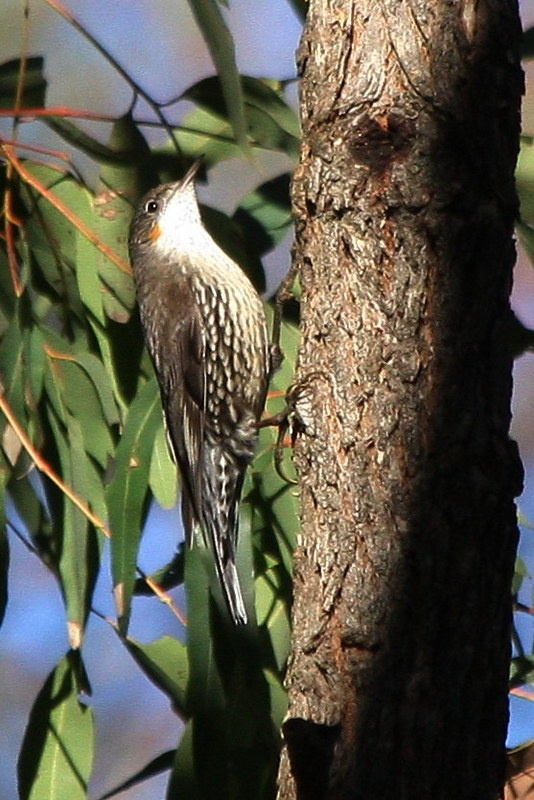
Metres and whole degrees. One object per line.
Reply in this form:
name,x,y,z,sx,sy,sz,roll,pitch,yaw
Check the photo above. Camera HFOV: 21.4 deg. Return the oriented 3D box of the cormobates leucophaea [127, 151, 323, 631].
cormobates leucophaea,-0.148,0.025,3.112,0.621,1.067,0.341,3,-8,-22
